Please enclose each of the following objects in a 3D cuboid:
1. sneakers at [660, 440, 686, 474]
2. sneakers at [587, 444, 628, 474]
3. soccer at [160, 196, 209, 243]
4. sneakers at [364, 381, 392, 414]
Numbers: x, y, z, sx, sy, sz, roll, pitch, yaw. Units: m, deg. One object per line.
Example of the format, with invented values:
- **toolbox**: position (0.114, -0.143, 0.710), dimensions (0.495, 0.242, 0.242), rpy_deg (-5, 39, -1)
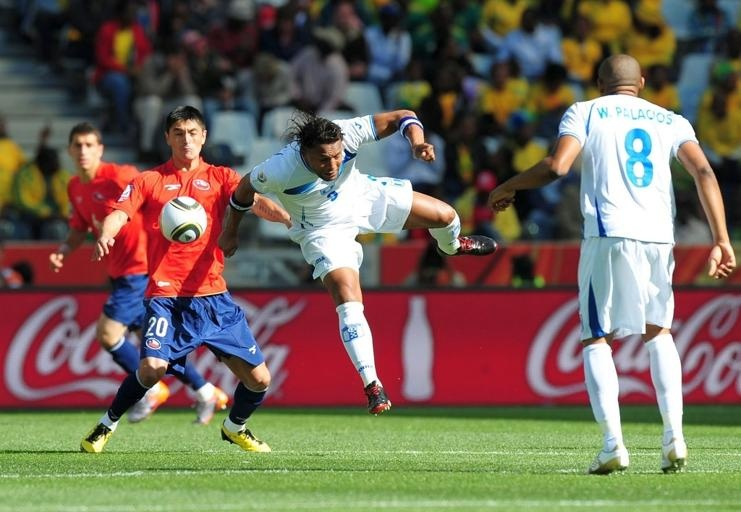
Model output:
- **sneakers**: position (2.869, 1.864, 10.502), dimensions (0.258, 0.351, 0.227), rpy_deg (-2, 5, -12)
- **sneakers**: position (2.225, 1.906, 10.454), dimensions (0.173, 0.220, 0.462), rpy_deg (0, -15, -32)
- **soccer**: position (-1.832, -0.363, 11.220), dimensions (0.440, 0.440, 0.432), rpy_deg (27, 2, -6)
- **sneakers**: position (0.072, 1.373, 10.791), dimensions (0.216, 0.317, 0.287), rpy_deg (-2, 5, -7)
